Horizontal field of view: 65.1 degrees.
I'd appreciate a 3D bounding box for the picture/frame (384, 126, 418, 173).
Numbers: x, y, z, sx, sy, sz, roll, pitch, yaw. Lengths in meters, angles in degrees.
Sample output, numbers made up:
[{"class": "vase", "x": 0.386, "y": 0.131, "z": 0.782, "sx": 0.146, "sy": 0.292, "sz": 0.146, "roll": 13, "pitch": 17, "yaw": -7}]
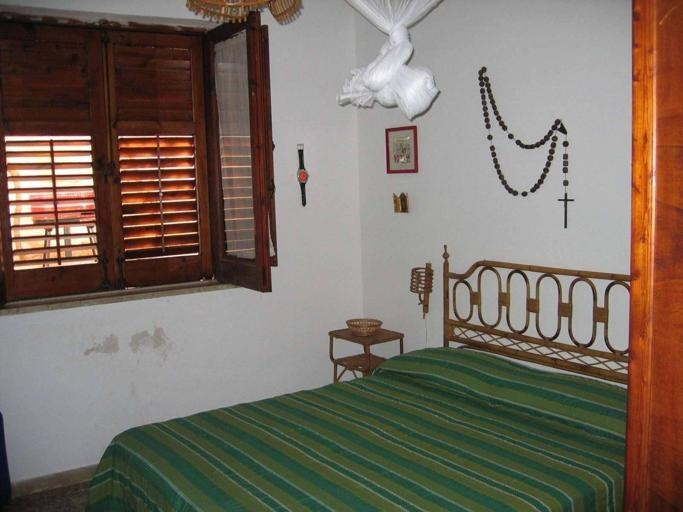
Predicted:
[{"class": "picture/frame", "x": 0.445, "y": -0.771, "z": 3.874, "sx": 0.019, "sy": 0.376, "sz": 0.310, "roll": -9, "pitch": 14, "yaw": -41}]
